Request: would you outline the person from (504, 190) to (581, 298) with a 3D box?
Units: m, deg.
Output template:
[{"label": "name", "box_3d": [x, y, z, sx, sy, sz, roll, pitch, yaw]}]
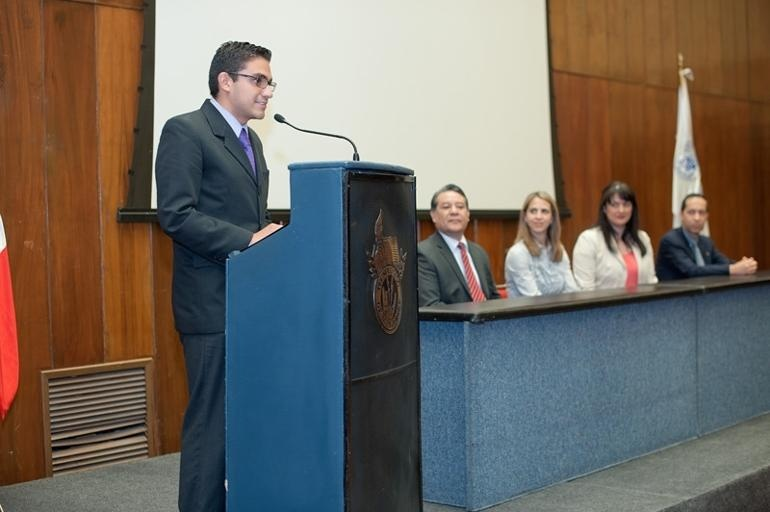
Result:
[{"label": "person", "box_3d": [1.060, -0.002, 4.817, 0.499, 0.847, 0.634, -2, 4, 24]}]

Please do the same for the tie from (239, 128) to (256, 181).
[{"label": "tie", "box_3d": [-0.618, -0.455, 3.192, 0.057, 0.260, 0.025, 14, -46, -30]}]
